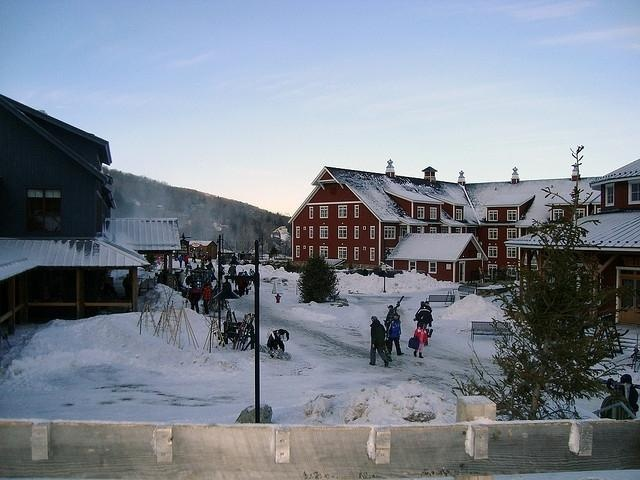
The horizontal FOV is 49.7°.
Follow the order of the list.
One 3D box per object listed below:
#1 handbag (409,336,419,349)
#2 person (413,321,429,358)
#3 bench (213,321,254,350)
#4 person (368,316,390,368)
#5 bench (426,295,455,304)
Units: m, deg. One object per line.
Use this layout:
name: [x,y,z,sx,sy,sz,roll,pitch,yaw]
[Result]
handbag: [3.539,3.968,26.350,0.474,0.720,0.373,0,-9,7]
person: [3.828,3.901,26.618,0.442,1.308,0.970,-1,-7,10]
bench: [-3.090,3.603,25.887,1.411,1.054,1.112,-2,-8,14]
person: [2.158,3.768,25.413,0.730,1.808,1.518,-1,-7,4]
bench: [7.264,3.619,41.479,1.511,0.616,2.248,-2,-8,12]
